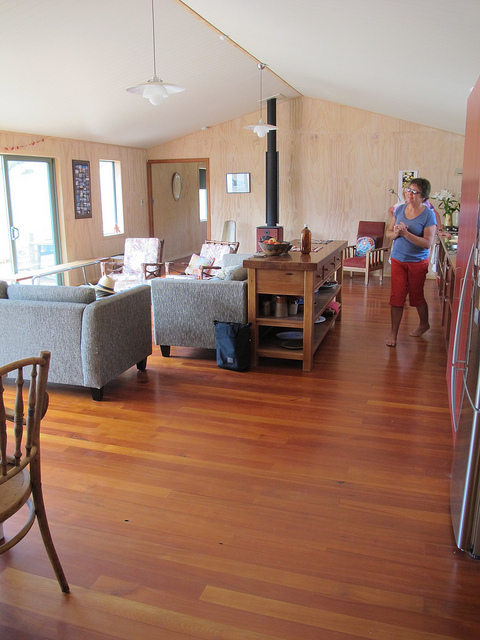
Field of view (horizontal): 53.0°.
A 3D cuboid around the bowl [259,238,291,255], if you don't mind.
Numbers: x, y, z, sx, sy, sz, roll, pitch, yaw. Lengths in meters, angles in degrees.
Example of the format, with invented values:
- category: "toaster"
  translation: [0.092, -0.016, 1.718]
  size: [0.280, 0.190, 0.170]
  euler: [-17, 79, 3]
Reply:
- category: "bowl"
  translation: [0.295, -0.586, 3.962]
  size: [0.237, 0.098, 0.196]
  euler: [0, 10, 2]

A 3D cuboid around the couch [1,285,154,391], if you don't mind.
- category: "couch"
  translation: [-1.197, 0.123, 3.535]
  size: [0.933, 0.743, 0.876]
  euler: [4, 14, 17]

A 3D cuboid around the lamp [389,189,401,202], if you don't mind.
- category: "lamp"
  translation: [2.574, -2.071, 8.027]
  size: [0.166, 0.198, 0.077]
  euler: [2, 11, 15]

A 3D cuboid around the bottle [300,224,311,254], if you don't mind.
- category: "bottle"
  translation: [0.560, -0.680, 4.093]
  size: [0.080, 0.234, 0.296]
  euler: [1, 10, 10]

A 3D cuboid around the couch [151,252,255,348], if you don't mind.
- category: "couch"
  translation: [-0.309, -0.132, 4.119]
  size: [0.670, 0.562, 1.231]
  euler: [4, 11, 13]

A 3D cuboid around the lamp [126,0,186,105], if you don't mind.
- category: "lamp"
  translation: [-0.641, -1.890, 3.691]
  size: [0.352, 0.609, 0.354]
  euler: [-2, 28, -3]

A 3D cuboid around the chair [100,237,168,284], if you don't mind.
- category: "chair"
  translation: [-1.382, -0.674, 6.797]
  size: [0.829, 0.890, 0.818]
  euler: [9, 11, 5]

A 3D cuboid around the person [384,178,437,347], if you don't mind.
- category: "person"
  translation: [1.537, -0.495, 4.380]
  size: [0.399, 1.498, 0.628]
  euler: [3, 11, 19]

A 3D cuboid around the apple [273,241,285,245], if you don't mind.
- category: "apple"
  translation: [0.329, -0.621, 3.899]
  size: [0.134, 0.025, 0.074]
  euler: [-10, 13, -41]

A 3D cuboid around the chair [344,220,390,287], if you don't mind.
- category: "chair"
  translation: [1.978, -1.071, 7.813]
  size: [0.681, 1.006, 0.780]
  euler: [7, 19, 28]
